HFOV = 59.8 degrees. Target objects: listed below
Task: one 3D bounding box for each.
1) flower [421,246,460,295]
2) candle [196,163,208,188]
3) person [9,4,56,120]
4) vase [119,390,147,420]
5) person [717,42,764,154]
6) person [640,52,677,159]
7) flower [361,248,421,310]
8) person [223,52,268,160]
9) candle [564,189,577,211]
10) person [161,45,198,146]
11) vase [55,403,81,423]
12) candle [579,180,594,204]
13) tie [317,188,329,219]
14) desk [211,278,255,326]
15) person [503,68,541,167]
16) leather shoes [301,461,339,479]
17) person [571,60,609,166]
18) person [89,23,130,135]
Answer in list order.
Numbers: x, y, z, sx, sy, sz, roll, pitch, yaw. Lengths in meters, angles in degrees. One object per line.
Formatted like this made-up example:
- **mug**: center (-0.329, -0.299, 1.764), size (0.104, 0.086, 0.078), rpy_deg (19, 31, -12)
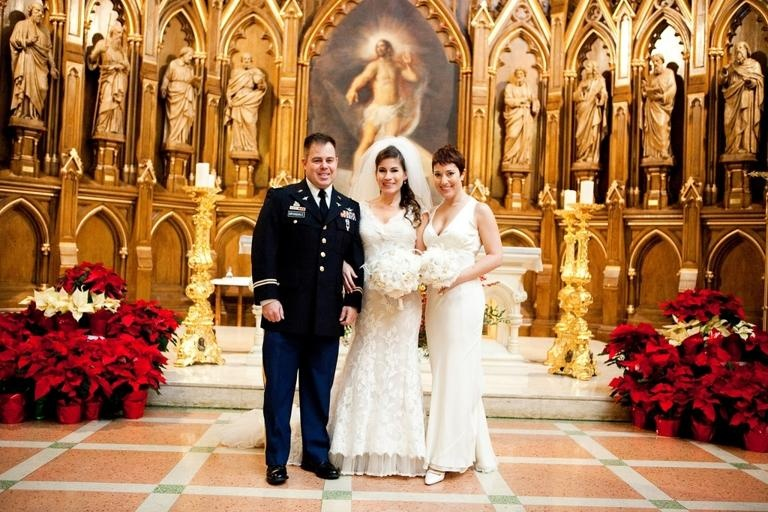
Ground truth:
- **flower**: center (0.485, 0.110, 5.971), size (0.358, 0.358, 0.360), rpy_deg (3, 0, -24)
- **candle**: center (-2.228, -0.974, 8.165), size (0.138, 0.304, 0.094), rpy_deg (1, -2, -12)
- **person**: center (-5.273, -2.844, 9.905), size (0.517, 1.700, 0.250), rpy_deg (2, -2, -30)
- **vase**: center (-2.661, 1.588, 7.118), size (0.301, 0.306, 0.287), rpy_deg (6, -7, -20)
- **person**: center (5.527, -2.371, 10.247), size (0.515, 1.700, 0.218), rpy_deg (-1, -2, 27)
- **person**: center (4.525, -2.397, 11.015), size (0.549, 1.754, 0.408), rpy_deg (-1, -3, 31)
- **flower**: center (0.095, 0.222, 5.955), size (0.527, 0.433, 0.504), rpy_deg (1, -3, 16)
- **person**: center (-2.475, -2.626, 11.817), size (0.689, 1.817, 0.354), rpy_deg (1, -2, -9)
- **candle**: center (2.411, -0.726, 8.652), size (0.141, 0.284, 0.433), rpy_deg (0, -3, 12)
- **person**: center (-3.518, -2.677, 11.423), size (0.620, 1.701, 0.435), rpy_deg (1, -2, -23)
- **vase**: center (-3.243, 1.621, 6.870), size (0.224, 0.164, 0.223), rpy_deg (2, 4, 8)
- **candle**: center (2.551, -0.782, 8.455), size (0.151, 0.318, 0.303), rpy_deg (0, -2, 16)
- **tie**: center (-0.548, -0.464, 6.018), size (0.075, 0.289, 0.080), rpy_deg (-4, -27, -5)
- **desk**: center (-2.480, 0.780, 10.934), size (0.914, 0.914, 0.921), rpy_deg (0, -5, -6)
- **person**: center (2.449, -2.406, 11.918), size (0.650, 1.794, 0.314), rpy_deg (1, -2, -11)
- **leather shoes**: center (-0.574, 1.933, 6.076), size (0.310, 0.099, 0.130), rpy_deg (3, 3, 30)
- **person**: center (3.551, -2.443, 11.494), size (0.521, 1.785, 0.311), rpy_deg (0, -2, 14)
- **person**: center (-4.427, -2.734, 10.669), size (0.593, 1.711, 0.339), rpy_deg (1, -2, -22)
